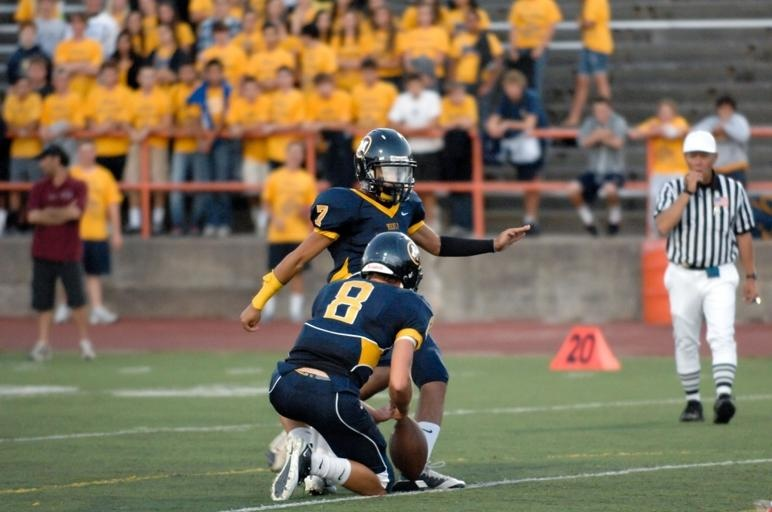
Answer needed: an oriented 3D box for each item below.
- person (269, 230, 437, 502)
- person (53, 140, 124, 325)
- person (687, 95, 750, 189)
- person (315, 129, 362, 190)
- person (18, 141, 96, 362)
[{"bbox_3d":[-0.310,1.014,13.719,1.451,2.497,0.540,0,0,-1],"label":"person"},{"bbox_3d":[-3.934,-0.424,20.391,0.990,2.726,1.038,0,-4,0],"label":"person"},{"bbox_3d":[4.730,-1.632,20.824,0.738,1.521,0.708,12,-5,-43],"label":"person"},{"bbox_3d":[-0.677,-1.379,21.283,0.521,0.916,0.586,1,-12,5],"label":"person"},{"bbox_3d":[-4.224,-0.118,18.826,1.050,2.473,0.913,-1,-3,-7],"label":"person"}]
